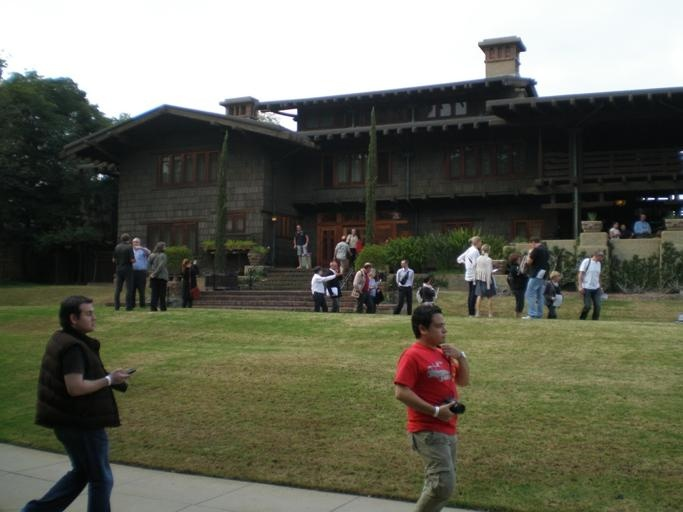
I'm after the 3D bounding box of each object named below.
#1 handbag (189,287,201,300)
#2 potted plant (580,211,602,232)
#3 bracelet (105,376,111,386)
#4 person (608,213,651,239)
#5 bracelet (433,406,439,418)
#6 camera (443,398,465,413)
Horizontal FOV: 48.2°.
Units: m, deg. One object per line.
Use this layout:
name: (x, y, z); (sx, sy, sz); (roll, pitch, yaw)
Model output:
handbag: (-4.858, 1.229, 25.083); (0.411, 0.390, 0.703); (-11, 9, -13)
potted plant: (9.134, -1.223, 27.989); (1.063, 0.757, 1.037); (-2, 0, 19)
bracelet: (-2.831, 1.507, 9.272); (0.040, 0.108, 0.094); (-19, -10, 33)
person: (11.166, -1.122, 29.408); (1.107, 0.735, 0.417); (-4, -15, 21)
bracelet: (1.134, 1.847, 9.116); (0.051, 0.099, 0.080); (5, -8, 38)
camera: (1.393, 1.801, 9.196); (0.189, 0.153, 0.177); (-1, -1, 41)
